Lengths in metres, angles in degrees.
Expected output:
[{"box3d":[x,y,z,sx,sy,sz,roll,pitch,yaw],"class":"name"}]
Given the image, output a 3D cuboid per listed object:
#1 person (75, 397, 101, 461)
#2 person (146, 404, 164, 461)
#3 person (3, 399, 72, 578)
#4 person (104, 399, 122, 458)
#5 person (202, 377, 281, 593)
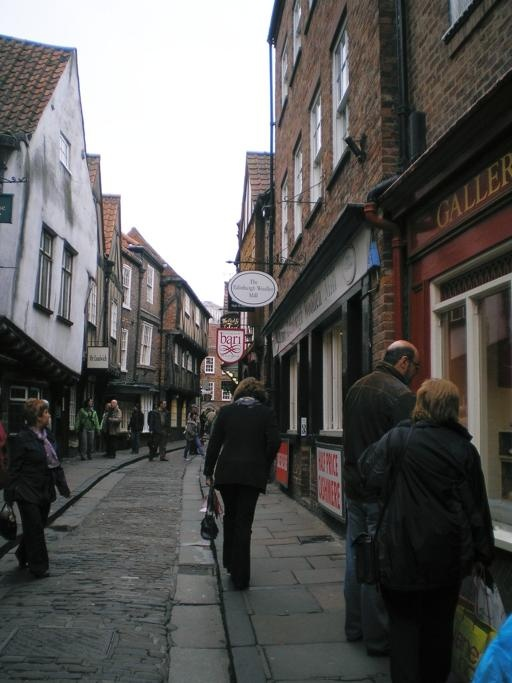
[{"box3d":[-5.365,2.783,19.258,0.679,1.867,1.238,4,-9,-18],"class":"person"},{"box3d":[-3.308,3.037,20.229,0.482,1.835,1.337,2,-9,-8],"class":"person"},{"box3d":[-2.028,1.310,5.622,0.502,1.569,0.670,2,-8,-8],"class":"person"},{"box3d":[-4.948,2.962,20.689,0.589,1.925,0.859,3,-8,-17],"class":"person"},{"box3d":[-0.114,1.148,5.278,0.557,1.770,0.669,7,-10,-40],"class":"person"}]
